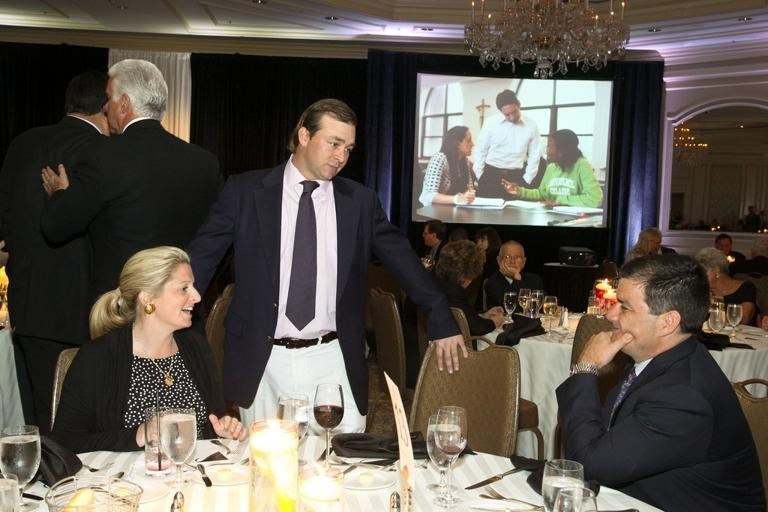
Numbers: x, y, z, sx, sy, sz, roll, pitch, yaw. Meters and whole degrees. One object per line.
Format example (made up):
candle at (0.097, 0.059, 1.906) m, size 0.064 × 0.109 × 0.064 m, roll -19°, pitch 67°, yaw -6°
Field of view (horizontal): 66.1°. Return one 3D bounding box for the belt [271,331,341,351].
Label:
belt at (-0.351, 0.378, 2.644) m, size 0.288 × 0.060 × 0.036 m, roll -2°, pitch 5°, yaw -14°

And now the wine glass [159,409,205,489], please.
wine glass at (-0.655, 0.616, 1.889) m, size 0.105 × 0.253 × 0.110 m, roll 6°, pitch 7°, yaw 27°

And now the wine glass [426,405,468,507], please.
wine glass at (0.214, 0.657, 2.023) m, size 0.126 × 0.279 × 0.276 m, roll -1°, pitch 4°, yaw 4°

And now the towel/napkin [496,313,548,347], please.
towel/napkin at (1.056, 0.543, 4.386) m, size 0.386 × 0.127 × 0.419 m, roll 9°, pitch -23°, yaw -13°

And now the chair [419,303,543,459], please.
chair at (0.558, 0.805, 3.020) m, size 0.466 × 0.788 × 0.469 m, roll 17°, pitch -25°, yaw -38°

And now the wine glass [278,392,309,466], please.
wine glass at (-0.308, 0.590, 2.055) m, size 0.111 × 0.200 × 0.116 m, roll -5°, pitch -9°, yaw 38°

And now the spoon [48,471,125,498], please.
spoon at (-0.873, 0.665, 1.711) m, size 0.117 × 0.046 × 0.120 m, roll 1°, pitch 2°, yaw -22°

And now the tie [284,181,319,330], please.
tie at (-0.366, -0.006, 2.650) m, size 0.125 × 0.663 × 0.148 m, roll -1°, pitch 5°, yaw 5°

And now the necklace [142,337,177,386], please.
necklace at (-0.970, 0.457, 2.530) m, size 0.062 × 0.208 × 0.011 m, roll -16°, pitch -17°, yaw -23°

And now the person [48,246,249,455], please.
person at (-1.028, 0.426, 2.739) m, size 0.694 × 0.952 × 0.925 m, roll 0°, pitch -2°, yaw 27°

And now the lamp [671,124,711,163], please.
lamp at (6.485, -2.437, 12.474) m, size 0.573 × 0.853 × 2.371 m, roll 1°, pitch 5°, yaw 29°

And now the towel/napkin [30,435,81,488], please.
towel/napkin at (-1.082, 0.657, 1.948) m, size 0.162 × 0.065 × 0.130 m, roll 12°, pitch 17°, yaw 30°

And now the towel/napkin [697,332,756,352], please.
towel/napkin at (2.297, 0.580, 3.950) m, size 0.398 × 0.137 × 0.310 m, roll -1°, pitch -1°, yaw -1°
